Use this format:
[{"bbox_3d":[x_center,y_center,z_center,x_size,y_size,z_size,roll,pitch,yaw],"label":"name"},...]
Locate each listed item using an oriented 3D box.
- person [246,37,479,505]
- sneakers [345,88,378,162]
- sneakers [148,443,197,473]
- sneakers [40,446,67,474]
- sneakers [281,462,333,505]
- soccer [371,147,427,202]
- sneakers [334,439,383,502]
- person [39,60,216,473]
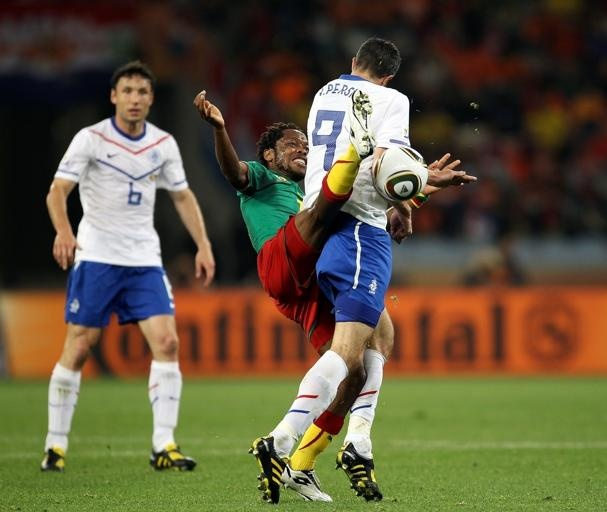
[{"bbox_3d":[0.295,0.013,5.525,0.660,2.860,1.387,-2,-3,44],"label":"person"},{"bbox_3d":[0.338,-0.748,5.235,0.124,0.417,0.150,-2,-3,-34],"label":"sneakers"},{"bbox_3d":[-0.900,1.394,6.307,0.350,0.180,0.134,-1,-3,22],"label":"sneakers"},{"bbox_3d":[-1.700,1.387,6.191,0.114,0.182,0.166,7,4,-25],"label":"sneakers"},{"bbox_3d":[0.024,1.358,5.401,0.360,0.165,0.122,21,-17,25],"label":"sneakers"},{"bbox_3d":[0.564,-0.484,5.294,0.286,0.355,0.288,-1,13,10],"label":"soccer"},{"bbox_3d":[0.344,1.274,5.387,0.267,0.332,0.157,0,-2,4],"label":"sneakers"},{"bbox_3d":[-1.274,0.040,6.512,1.165,2.874,0.790,1,-2,-27],"label":"person"}]
